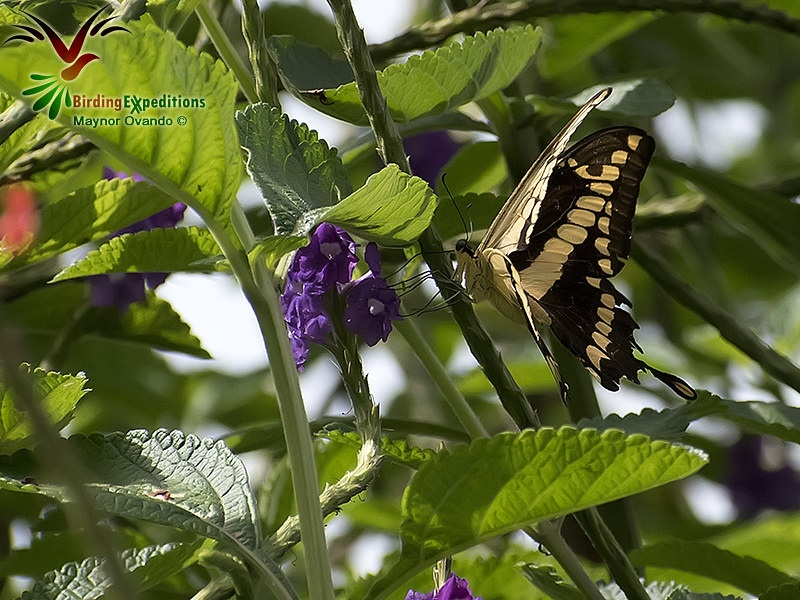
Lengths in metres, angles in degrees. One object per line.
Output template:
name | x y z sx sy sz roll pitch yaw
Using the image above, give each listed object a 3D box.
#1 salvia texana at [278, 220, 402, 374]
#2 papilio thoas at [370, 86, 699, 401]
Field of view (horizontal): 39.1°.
salvia texana | -0.104 -0.013 1.924 0.204 0.191 0.204 -9 -18 -6
papilio thoas | 0.341 -0.104 2.324 0.563 0.795 0.421 -1 3 3
